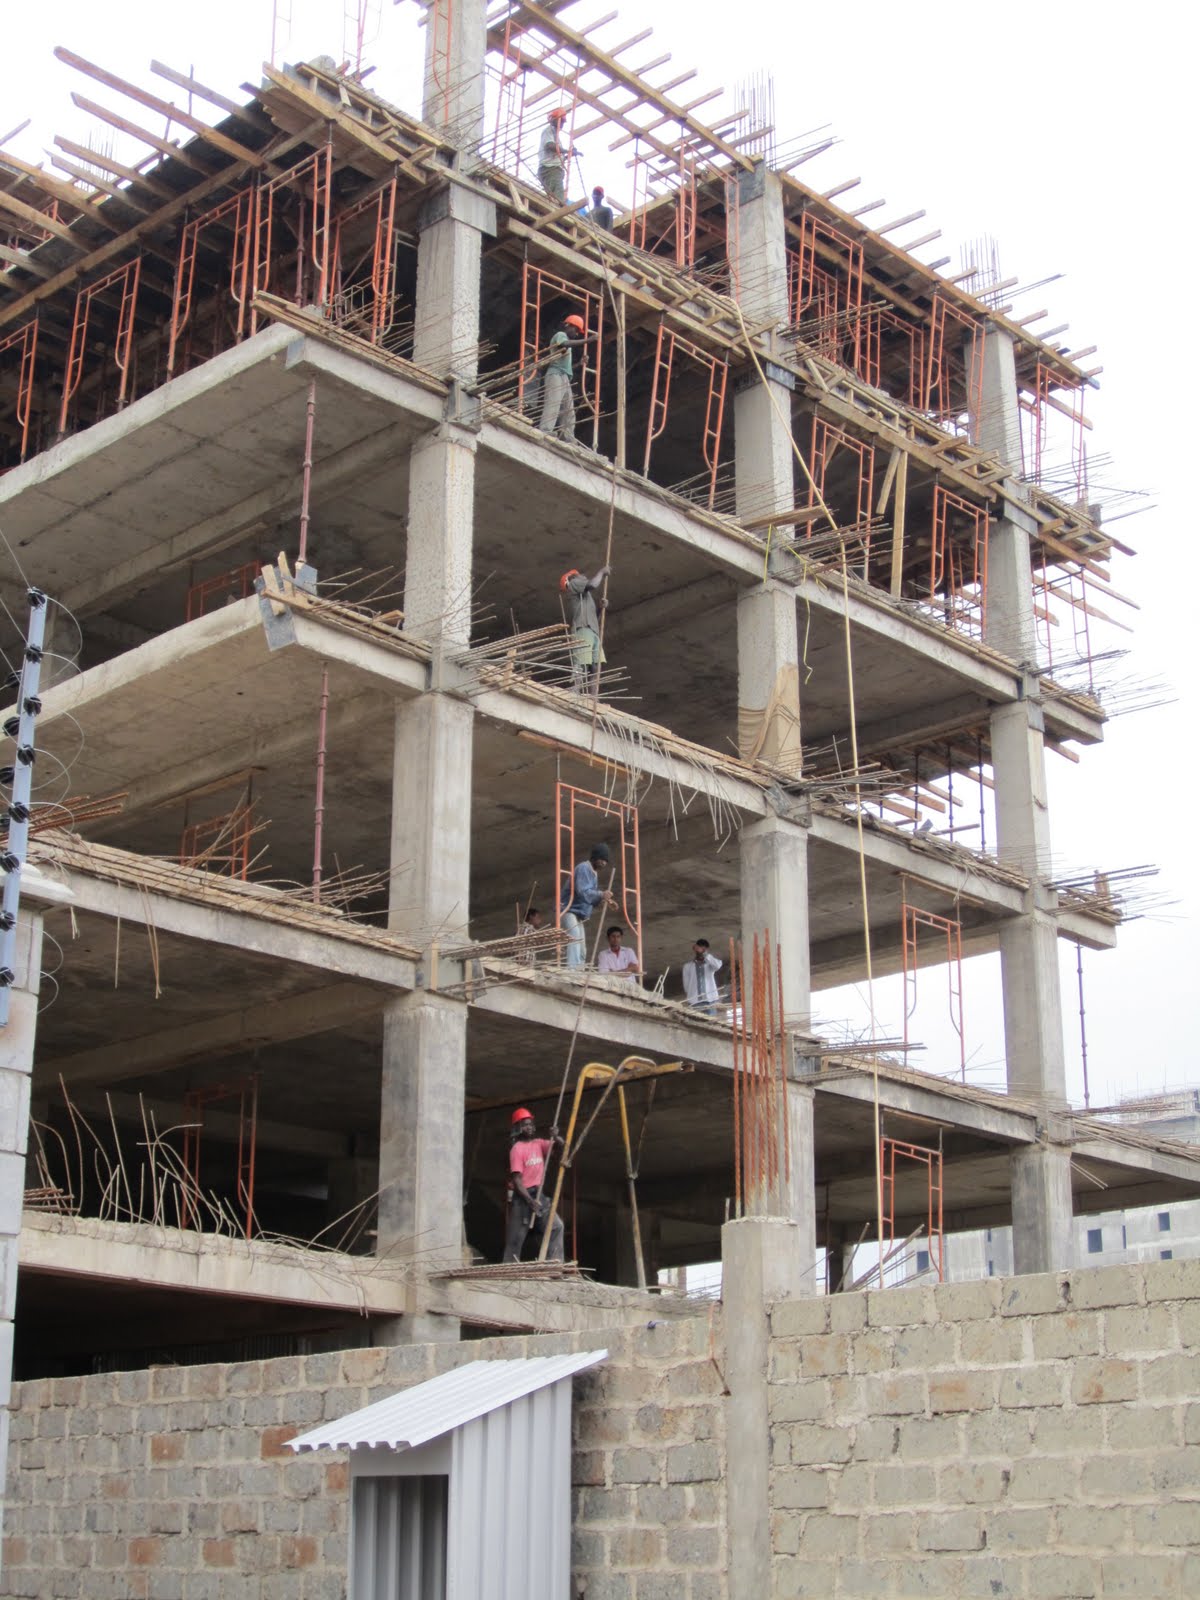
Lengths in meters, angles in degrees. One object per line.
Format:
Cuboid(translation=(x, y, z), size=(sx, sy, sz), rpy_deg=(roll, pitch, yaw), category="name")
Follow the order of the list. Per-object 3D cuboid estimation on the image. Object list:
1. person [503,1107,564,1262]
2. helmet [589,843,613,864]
Cuboid(translation=(-0.717, 4.354, 31.183), size=(0.653, 1.947, 0.638), rpy_deg=(2, 18, 0), category="person")
Cuboid(translation=(-0.050, 0.673, 37.059), size=(0.221, 0.233, 0.267), rpy_deg=(3, -7, 8), category="helmet")
